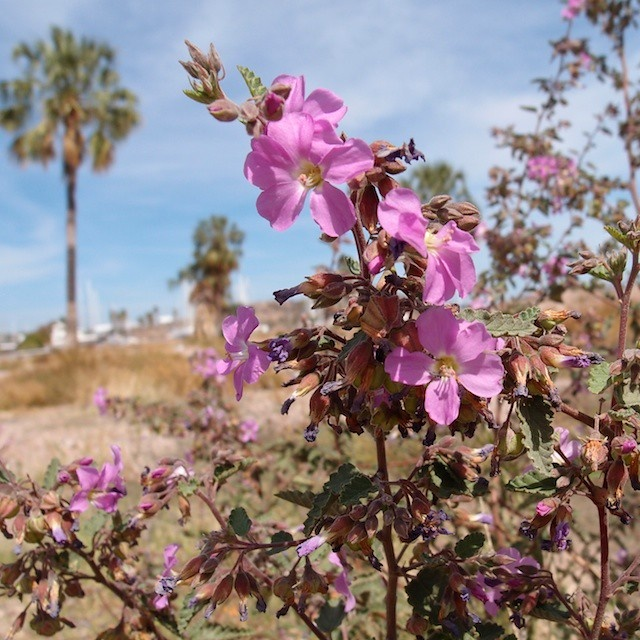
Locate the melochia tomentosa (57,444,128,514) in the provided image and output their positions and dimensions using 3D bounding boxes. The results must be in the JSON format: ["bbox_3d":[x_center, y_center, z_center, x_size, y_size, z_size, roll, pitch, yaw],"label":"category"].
[{"bbox_3d":[-1.153,0.747,5.921,0.311,0.329,0.133,-15,20,-40],"label":"melochia tomentosa"}]

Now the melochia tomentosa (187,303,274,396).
[{"bbox_3d":[-0.368,0.092,5.472,0.190,0.372,0.347,3,29,-34],"label":"melochia tomentosa"}]

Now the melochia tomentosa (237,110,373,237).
[{"bbox_3d":[-0.083,-0.661,5.173,0.628,0.208,0.594,-18,-22,39],"label":"melochia tomentosa"}]

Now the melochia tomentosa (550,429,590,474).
[{"bbox_3d":[1.169,0.579,5.576,0.165,0.182,0.075,-9,10,-41],"label":"melochia tomentosa"}]
